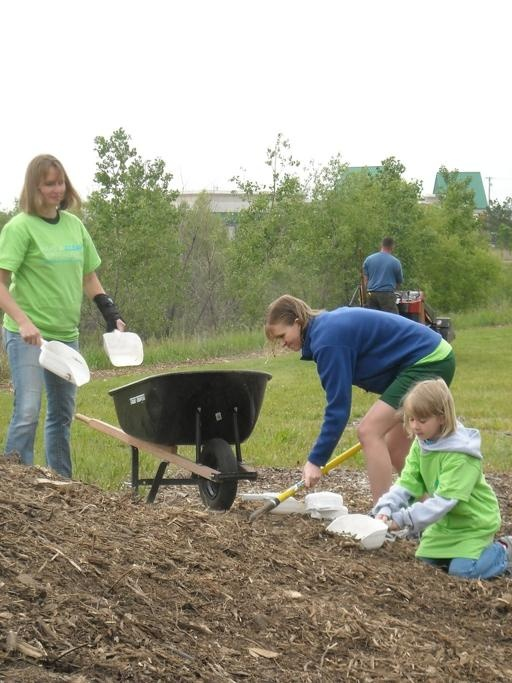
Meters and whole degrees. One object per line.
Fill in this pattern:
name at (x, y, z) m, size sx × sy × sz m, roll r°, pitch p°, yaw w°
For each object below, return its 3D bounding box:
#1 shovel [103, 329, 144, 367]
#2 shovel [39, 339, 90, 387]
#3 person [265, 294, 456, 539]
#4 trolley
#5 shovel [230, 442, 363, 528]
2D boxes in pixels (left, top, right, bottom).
shovel at (-0.767, 0.045, 4.950) m, size 0.179 × 0.235 × 0.112 m, roll -8°, pitch -27°, yaw -39°
shovel at (-0.966, 0.119, 4.387) m, size 0.303 × 0.087 × 0.158 m, roll 27°, pitch 19°, yaw 3°
person at (0.495, 0.369, 4.560) m, size 1.224 × 1.383 × 0.659 m, roll -1°, pitch -19°, yaw 7°
trolley at (-0.452, 0.471, 4.534) m, size 0.487 × 0.472 × 1.047 m, roll 5°, pitch -12°, yaw -36°
shovel at (0.225, 0.810, 4.920) m, size 0.084 × 0.079 × 1.039 m, roll 17°, pitch -39°, yaw -43°
